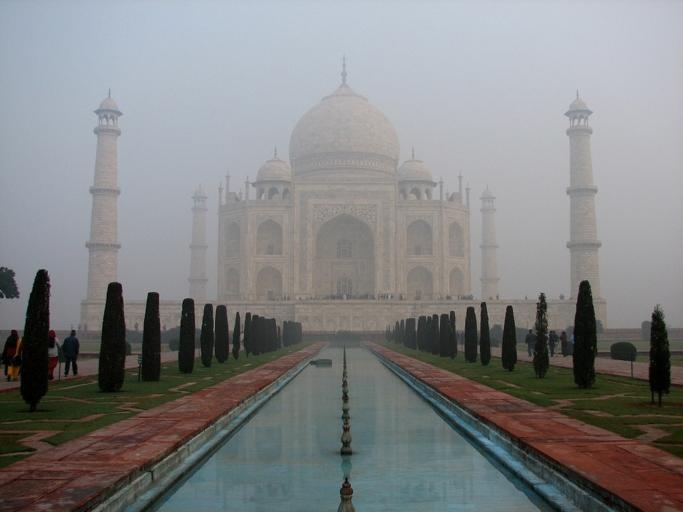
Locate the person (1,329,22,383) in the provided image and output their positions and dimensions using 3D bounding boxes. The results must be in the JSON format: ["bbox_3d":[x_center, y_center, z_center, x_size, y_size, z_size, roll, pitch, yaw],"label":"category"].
[{"bbox_3d":[-4.690,1.397,10.267,0.224,0.707,1.310,2,-5,-24],"label":"person"}]
